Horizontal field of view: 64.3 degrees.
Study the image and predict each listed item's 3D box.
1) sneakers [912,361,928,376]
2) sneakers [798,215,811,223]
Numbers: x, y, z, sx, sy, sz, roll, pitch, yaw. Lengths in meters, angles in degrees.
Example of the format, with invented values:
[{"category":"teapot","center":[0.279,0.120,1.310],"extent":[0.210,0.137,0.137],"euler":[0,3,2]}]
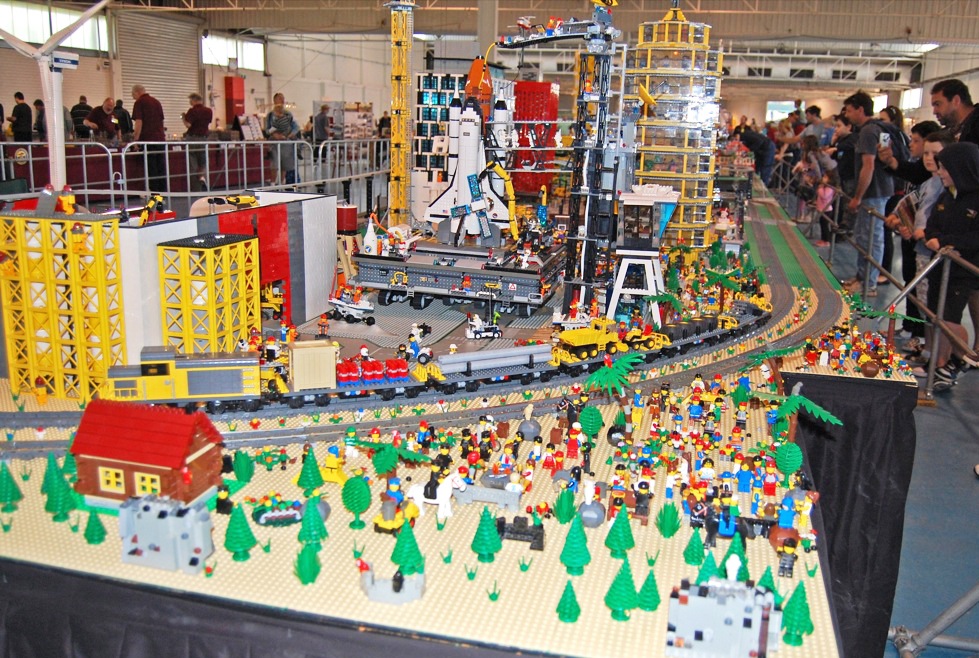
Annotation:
[{"category":"sneakers","center":[5.223,0.472,9.463],"extent":[0.098,0.115,0.290],"euler":[5,25,25]},{"category":"sneakers","center":[7.416,-2.609,18.356],"extent":[0.276,0.113,0.377],"euler":[0,10,6]}]
